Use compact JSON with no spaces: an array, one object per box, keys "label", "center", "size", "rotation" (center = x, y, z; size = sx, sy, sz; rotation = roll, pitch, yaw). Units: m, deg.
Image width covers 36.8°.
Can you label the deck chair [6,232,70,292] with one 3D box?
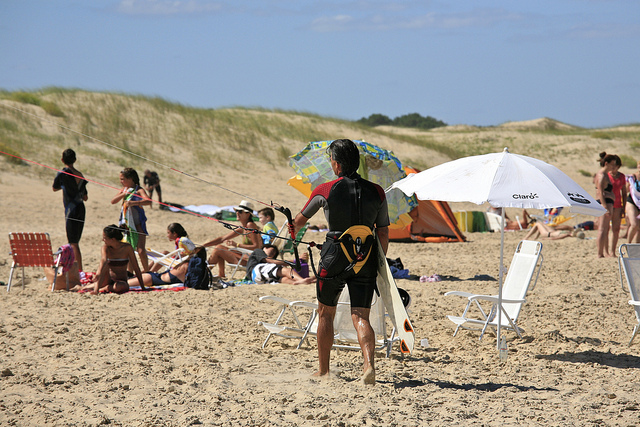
[{"label":"deck chair","center":[-4.774,0.811,15.958],"size":[1.006,1.242,0.958],"rotation":[1,0,3]}]

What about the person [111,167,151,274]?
[{"label":"person","center":[-3.170,0.153,16.488],"size":[0.600,1.950,0.601],"rotation":[2,15,5]}]

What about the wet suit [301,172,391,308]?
[{"label":"wet suit","center":[0.352,0.564,13.261],"size":[1.231,2.428,0.811],"rotation":[0,10,-5]}]

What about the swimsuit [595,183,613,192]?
[{"label":"swimsuit","center":[5.309,-0.495,17.741],"size":[0.143,0.109,0.143],"rotation":[-14,6,-11]}]

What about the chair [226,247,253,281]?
[{"label":"chair","center":[-1.491,0.888,17.536],"size":[0.551,0.685,0.571],"rotation":[0,-4,28]}]

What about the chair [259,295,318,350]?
[{"label":"chair","center":[-0.419,1.630,14.405],"size":[1.028,0.743,0.572],"rotation":[-4,-12,12]}]

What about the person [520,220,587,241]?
[{"label":"person","center":[5.193,0.367,21.495],"size":[1.016,0.368,0.381],"rotation":[0,-12,10]}]

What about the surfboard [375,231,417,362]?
[{"label":"surfboard","center":[1.050,1.220,13.312],"size":[0.528,1.924,0.272],"rotation":[-5,5,19]}]

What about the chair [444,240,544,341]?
[{"label":"chair","center":[2.649,1.124,14.454],"size":[1.496,1.380,0.864],"rotation":[-5,2,-26]}]

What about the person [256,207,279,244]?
[{"label":"person","center":[-0.982,0.216,17.987],"size":[0.417,0.803,0.666],"rotation":[-1,7,8]}]

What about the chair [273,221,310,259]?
[{"label":"chair","center":[-0.585,0.411,17.856],"size":[0.618,0.612,0.828],"rotation":[21,15,-16]}]

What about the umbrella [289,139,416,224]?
[{"label":"umbrella","center":[0.655,-0.767,16.235],"size":[1.647,0.680,1.630],"rotation":[21,-36,-7]}]

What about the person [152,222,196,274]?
[{"label":"person","center":[-2.697,0.596,16.993],"size":[1.059,0.844,0.437],"rotation":[-2,8,-2]}]

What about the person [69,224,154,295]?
[{"label":"person","center":[-3.477,0.767,15.917],"size":[1.382,1.144,0.685],"rotation":[-3,4,-32]}]

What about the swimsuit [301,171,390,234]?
[{"label":"swimsuit","center":[0.417,-0.088,13.089],"size":[1.218,1.012,0.568],"rotation":[-3,13,-17]}]

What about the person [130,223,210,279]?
[{"label":"person","center":[-2.677,0.594,16.960],"size":[1.395,0.882,0.670],"rotation":[-7,12,-12]}]

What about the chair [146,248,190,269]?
[{"label":"chair","center":[-2.758,0.774,17.200],"size":[0.648,0.270,0.403],"rotation":[4,2,19]}]

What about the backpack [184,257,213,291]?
[{"label":"backpack","center":[-2.081,0.874,16.449],"size":[0.439,0.751,0.759],"rotation":[3,0,-9]}]

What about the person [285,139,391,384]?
[{"label":"person","center":[0.354,0.627,12.976],"size":[1.148,3.268,0.380],"rotation":[0,3,1]}]

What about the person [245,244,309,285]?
[{"label":"person","center":[-0.878,0.896,16.893],"size":[1.211,0.620,0.516],"rotation":[4,3,33]}]
